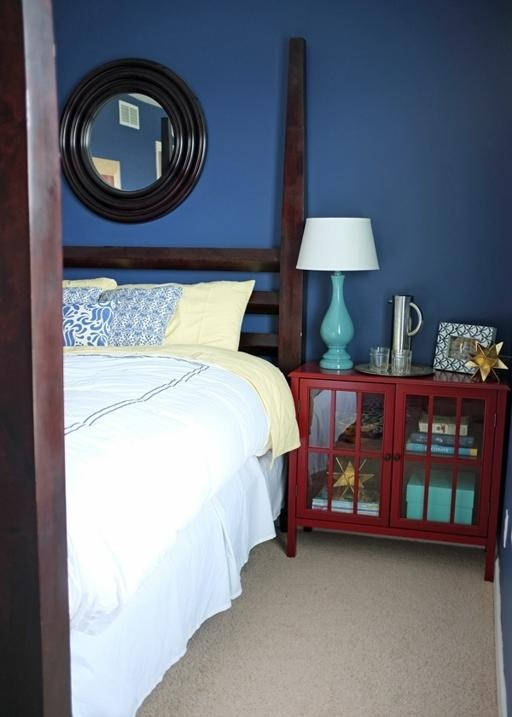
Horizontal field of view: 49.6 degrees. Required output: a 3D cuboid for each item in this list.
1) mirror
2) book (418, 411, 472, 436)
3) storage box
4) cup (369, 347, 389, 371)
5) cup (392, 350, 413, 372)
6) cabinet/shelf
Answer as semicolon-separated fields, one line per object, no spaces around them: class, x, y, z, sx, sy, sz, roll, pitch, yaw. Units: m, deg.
mirror;-0.636;-1.111;2.837;0.800;0.809;0.070;2;5;13
book;0.746;0.268;2.216;0.190;0.080;0.013;2;5;18
storage box;0.744;0.569;2.248;0.212;0.142;0.225;1;3;9
cup;0.538;0.002;2.456;0.086;0.101;0.086;-1;8;0
cup;0.614;0.007;2.354;0.083;0.097;0.087;1;-1;0
cabinet/shelf;0.582;0.457;2.269;0.763;0.721;0.316;1;3;12
